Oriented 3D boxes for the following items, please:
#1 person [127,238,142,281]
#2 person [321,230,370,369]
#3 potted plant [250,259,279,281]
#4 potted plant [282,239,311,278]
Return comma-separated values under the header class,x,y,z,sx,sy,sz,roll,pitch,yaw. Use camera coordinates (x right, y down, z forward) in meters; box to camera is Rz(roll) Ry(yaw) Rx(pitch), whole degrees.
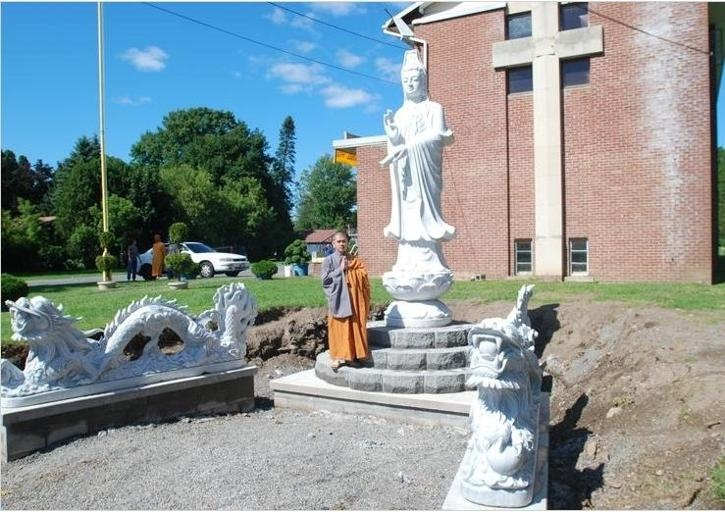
class,x,y,z,sx,sy,sz,roll,pitch,yaw
person,-8.738,0.186,26.904,0.360,1.519,1.637,-1,-3,-19
person,-0.329,0.854,13.489,0.913,2.609,0.611,-1,-2,-20
potted plant,-3.505,0.532,25.308,0.722,0.758,0.741,-2,-4,-13
potted plant,-2.694,0.107,29.010,0.912,1.490,1.964,-2,-3,4
